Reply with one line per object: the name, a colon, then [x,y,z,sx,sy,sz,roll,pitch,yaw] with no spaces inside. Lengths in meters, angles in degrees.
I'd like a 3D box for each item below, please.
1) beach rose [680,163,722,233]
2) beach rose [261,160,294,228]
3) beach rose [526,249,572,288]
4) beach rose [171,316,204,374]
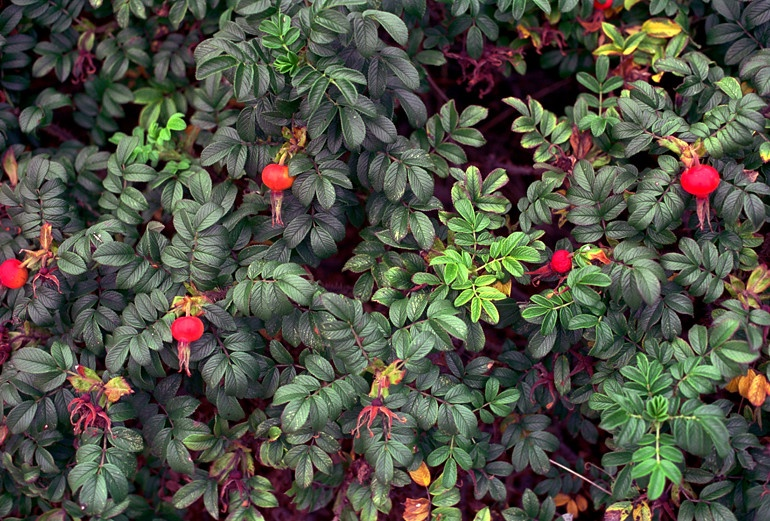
beach rose: [1.577,-0.314,3.298,0.161,0.156,0.347,-5,91,-39]
beach rose: [-0.563,-0.351,3.457,0.166,0.170,0.359,7,102,10]
beach rose: [0.865,0.048,3.482,0.211,0.094,0.139,-38,69,17]
beach rose: [-1.002,0.413,3.336,0.157,0.162,0.327,-4,109,-38]
